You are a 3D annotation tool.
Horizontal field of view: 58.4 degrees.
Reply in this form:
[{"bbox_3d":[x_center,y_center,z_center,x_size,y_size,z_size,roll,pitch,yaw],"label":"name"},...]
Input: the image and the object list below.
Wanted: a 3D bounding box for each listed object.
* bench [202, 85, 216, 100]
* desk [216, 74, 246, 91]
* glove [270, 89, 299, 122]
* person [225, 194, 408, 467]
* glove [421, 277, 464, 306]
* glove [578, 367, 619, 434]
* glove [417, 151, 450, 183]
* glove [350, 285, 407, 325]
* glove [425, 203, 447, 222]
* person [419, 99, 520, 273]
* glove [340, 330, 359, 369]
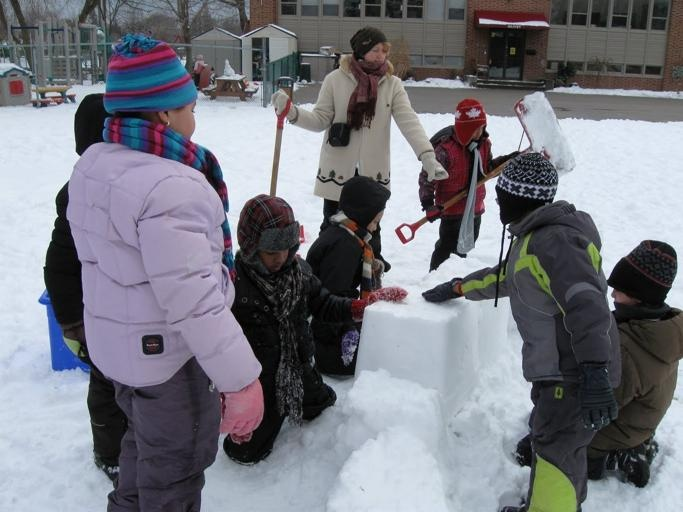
[{"bbox_3d":[-3.286,-4.106,15.354,0.401,0.429,0.100,0,5,-3],"label":"bench"},{"bbox_3d":[-2.801,-4.360,15.437,0.520,0.288,0.544,3,17,9],"label":"desk"},{"bbox_3d":[-0.435,-1.147,4.683,0.192,0.263,0.215,-4,22,-7],"label":"glove"},{"bbox_3d":[-0.229,0.418,3.264,1.095,1.397,0.513,-6,25,-17],"label":"person"},{"bbox_3d":[0.576,0.199,3.423,0.189,0.064,0.116,-25,-19,37],"label":"glove"},{"bbox_3d":[1.101,0.605,2.616,0.152,0.274,0.098,-1,-8,2],"label":"glove"},{"bbox_3d":[0.744,-0.719,4.866,0.146,0.103,0.287,-23,50,7],"label":"glove"},{"bbox_3d":[0.203,0.238,3.398,0.243,0.106,0.197,-19,2,9],"label":"glove"},{"bbox_3d":[0.800,-0.348,5.199,0.147,0.057,0.144,-24,-13,-48],"label":"glove"},{"bbox_3d":[1.135,-0.506,5.433,0.834,1.773,0.527,-4,33,0],"label":"person"},{"bbox_3d":[0.045,0.537,3.576,0.109,0.199,0.050,5,0,29],"label":"glove"}]
